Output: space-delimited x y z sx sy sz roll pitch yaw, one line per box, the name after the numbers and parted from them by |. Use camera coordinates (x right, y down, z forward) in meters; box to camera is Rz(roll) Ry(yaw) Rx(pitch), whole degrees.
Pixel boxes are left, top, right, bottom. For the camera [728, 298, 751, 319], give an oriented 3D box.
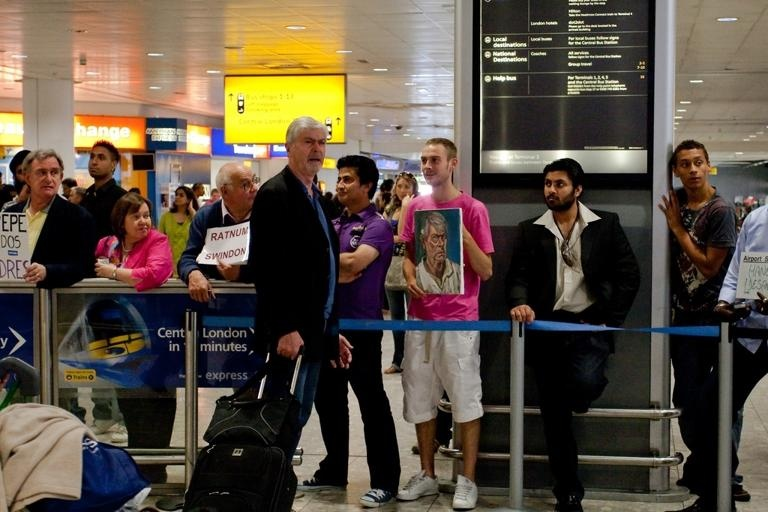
2.354 0.340 5.434 0.113 0.041 0.148 -1 18 14 | camera

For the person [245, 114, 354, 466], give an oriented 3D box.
-0.560 0.193 5.290 0.464 2.190 0.727 2 4 37 | person

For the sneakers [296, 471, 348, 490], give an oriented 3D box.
-0.471 1.704 6.317 0.371 0.135 0.132 4 -3 6 | sneakers

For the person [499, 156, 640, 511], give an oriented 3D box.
1.340 0.540 5.867 0.918 2.456 0.493 0 3 7 | person

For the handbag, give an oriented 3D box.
-0.769 0.984 4.993 0.483 0.355 0.463 3 -7 -3 | handbag

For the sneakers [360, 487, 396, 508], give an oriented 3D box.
-0.040 1.753 5.956 0.266 0.098 0.094 9 -11 -39 | sneakers
